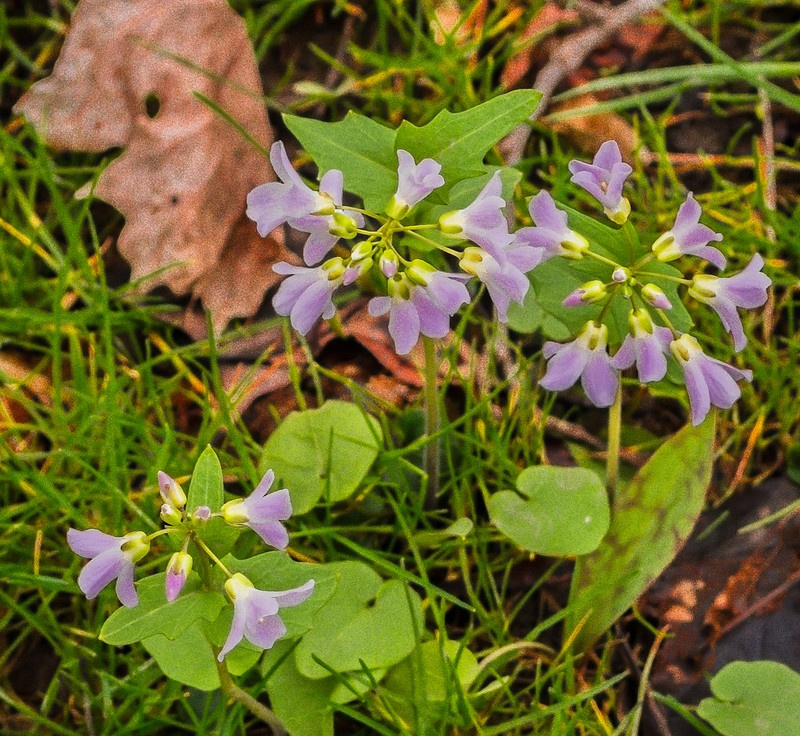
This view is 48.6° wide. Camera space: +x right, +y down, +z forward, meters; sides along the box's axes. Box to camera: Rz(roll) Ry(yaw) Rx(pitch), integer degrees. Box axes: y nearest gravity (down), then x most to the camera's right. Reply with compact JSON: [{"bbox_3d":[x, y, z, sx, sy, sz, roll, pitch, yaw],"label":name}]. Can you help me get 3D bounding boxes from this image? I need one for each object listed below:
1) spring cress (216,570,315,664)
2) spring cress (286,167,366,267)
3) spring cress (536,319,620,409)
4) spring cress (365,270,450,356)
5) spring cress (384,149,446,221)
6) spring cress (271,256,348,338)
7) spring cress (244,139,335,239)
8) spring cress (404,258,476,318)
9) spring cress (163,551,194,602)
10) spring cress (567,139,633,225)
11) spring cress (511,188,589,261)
[{"bbox_3d":[-0.247,0.490,1.696,0.179,0.182,0.152,-4,57,2],"label":"spring cress"},{"bbox_3d":[-0.161,-0.309,1.832,0.165,0.169,0.073,4,10,-23],"label":"spring cress"},{"bbox_3d":[0.386,-0.002,1.845,0.142,0.066,0.188,11,81,-6],"label":"spring cress"},{"bbox_3d":[0.026,-0.118,1.830,0.132,0.065,0.169,-36,90,12],"label":"spring cress"},{"bbox_3d":[0.028,-0.356,1.739,0.113,0.116,0.083,-6,57,1],"label":"spring cress"},{"bbox_3d":[-0.182,-0.148,1.855,0.153,0.077,0.156,-41,79,-3],"label":"spring cress"},{"bbox_3d":[-0.230,-0.345,1.764,0.176,0.182,0.078,0,24,10],"label":"spring cress"},{"bbox_3d":[0.081,-0.155,1.746,0.119,0.048,0.098,30,102,0],"label":"spring cress"},{"bbox_3d":[-0.411,0.381,1.639,0.048,0.035,0.095,17,76,-16],"label":"spring cress"},{"bbox_3d":[0.445,-0.369,1.834,0.101,0.159,0.151,-1,35,48],"label":"spring cress"},{"bbox_3d":[0.310,-0.278,1.829,0.125,0.064,0.149,-23,100,19],"label":"spring cress"}]
